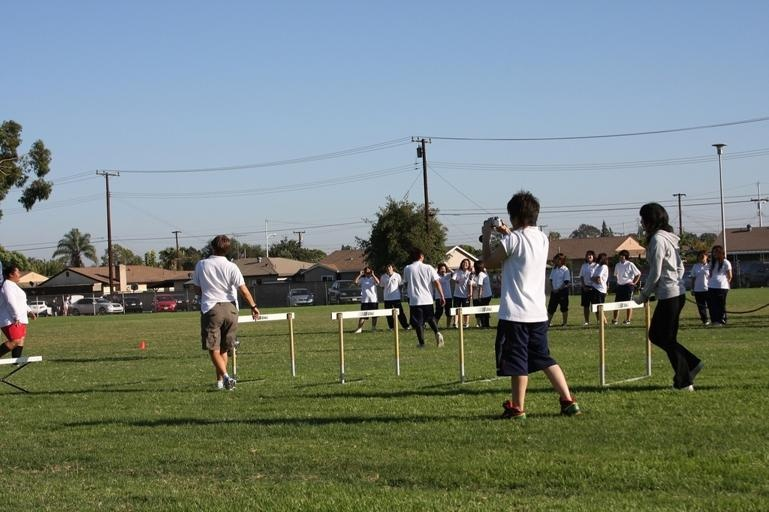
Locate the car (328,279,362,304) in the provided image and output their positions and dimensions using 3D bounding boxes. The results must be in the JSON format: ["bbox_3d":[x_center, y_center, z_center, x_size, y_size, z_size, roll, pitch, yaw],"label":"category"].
[{"bbox_3d":[-2.162,2.121,60.978,1.331,1.067,3.062,0,-6,-20],"label":"car"}]

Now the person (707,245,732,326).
[{"bbox_3d":[8.368,0.750,27.419,0.558,2.016,0.627,5,-5,-42],"label":"person"}]

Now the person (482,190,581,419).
[{"bbox_3d":[2.291,0.840,17.742,1.279,3.625,0.870,-3,12,-3],"label":"person"}]
